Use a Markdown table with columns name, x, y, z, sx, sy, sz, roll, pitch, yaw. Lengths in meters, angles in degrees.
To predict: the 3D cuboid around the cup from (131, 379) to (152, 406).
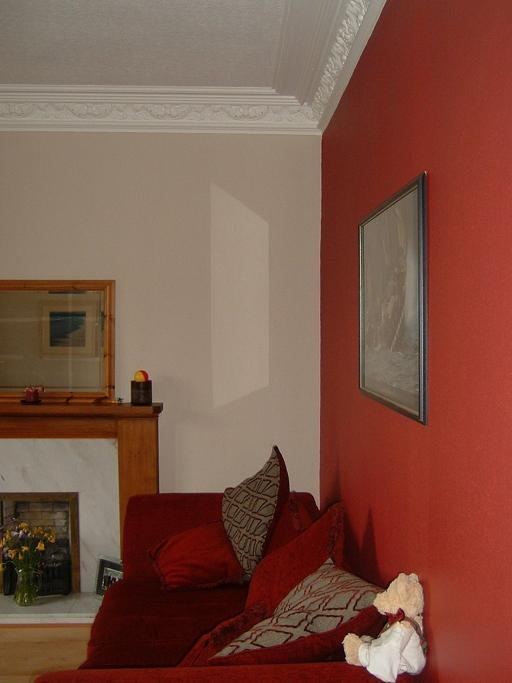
| name | x | y | z | sx | sy | sz | roll | pitch | yaw |
| --- | --- | --- | --- | --- | --- | --- | --- | --- | --- |
| cup | -0.584 | 0.266 | 3.438 | 0.114 | 0.127 | 0.116 | 0 | -4 | 0 |

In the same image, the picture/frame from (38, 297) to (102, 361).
| name | x | y | z | sx | sy | sz | roll | pitch | yaw |
| --- | --- | --- | --- | --- | --- | --- | --- | --- | --- |
| picture/frame | -0.991 | -0.074 | 3.490 | 0.330 | 0.350 | 0.026 | 0 | 0 | -3 |

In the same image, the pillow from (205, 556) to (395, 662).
| name | x | y | z | sx | sy | sz | roll | pitch | yaw |
| --- | --- | --- | --- | --- | --- | --- | --- | --- | --- |
| pillow | 0.124 | 0.754 | 1.873 | 0.447 | 0.163 | 0.400 | -5 | -8 | 7 |

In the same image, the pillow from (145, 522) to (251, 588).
| name | x | y | z | sx | sy | sz | roll | pitch | yaw |
| --- | --- | --- | --- | --- | --- | --- | --- | --- | --- |
| pillow | -0.228 | 0.854 | 2.608 | 0.230 | 0.071 | 0.234 | -5 | 17 | -18 |
